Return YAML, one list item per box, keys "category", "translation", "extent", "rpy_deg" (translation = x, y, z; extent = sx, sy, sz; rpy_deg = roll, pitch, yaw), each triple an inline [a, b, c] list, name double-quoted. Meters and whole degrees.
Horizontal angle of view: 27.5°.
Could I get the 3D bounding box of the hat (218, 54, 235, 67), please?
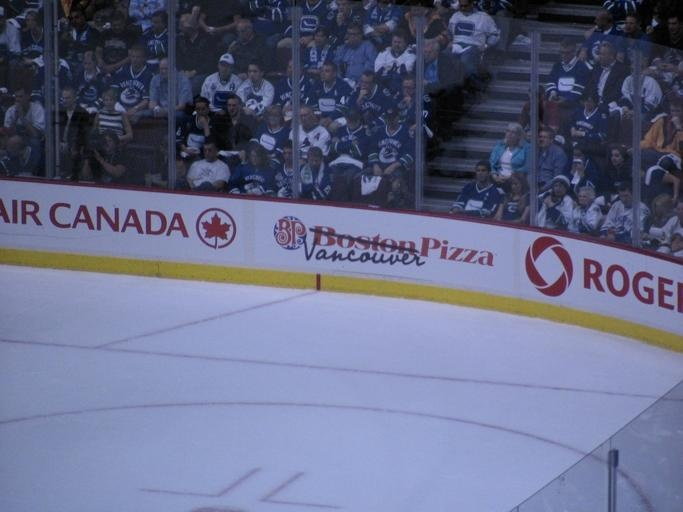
- category: "hat"
  translation: [-1.343, -2.294, 16.729]
  extent: [0.123, 0.086, 0.162]
  rpy_deg: [7, 19, 7]
